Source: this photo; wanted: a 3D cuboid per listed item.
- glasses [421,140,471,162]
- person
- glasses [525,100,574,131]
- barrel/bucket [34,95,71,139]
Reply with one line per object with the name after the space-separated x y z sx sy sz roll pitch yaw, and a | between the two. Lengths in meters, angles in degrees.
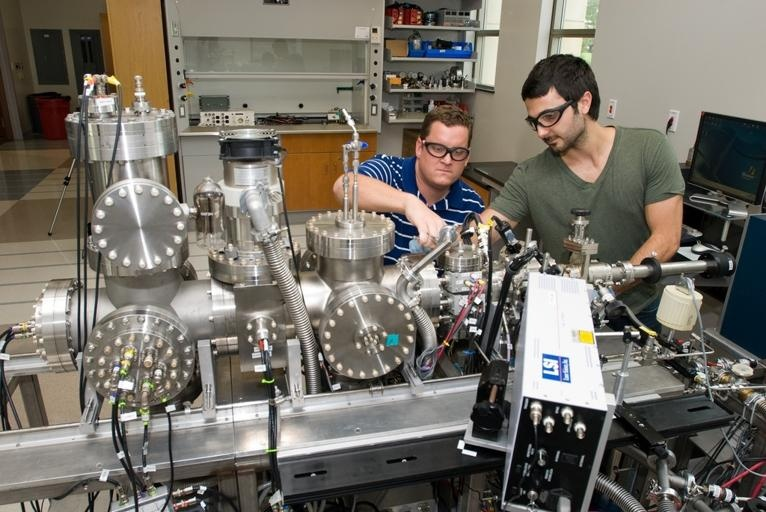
0.284 -0.478 2.530 0.201 0.096 0.079 -1 18 6 | glasses
0.459 -0.262 2.855 1.668 1.612 1.059 -19 25 -20 | person
0.747 -0.633 2.531 0.133 0.049 0.132 -34 11 -22 | glasses
-5.451 -2.330 9.376 0.470 0.686 0.658 -14 21 -30 | barrel/bucket
